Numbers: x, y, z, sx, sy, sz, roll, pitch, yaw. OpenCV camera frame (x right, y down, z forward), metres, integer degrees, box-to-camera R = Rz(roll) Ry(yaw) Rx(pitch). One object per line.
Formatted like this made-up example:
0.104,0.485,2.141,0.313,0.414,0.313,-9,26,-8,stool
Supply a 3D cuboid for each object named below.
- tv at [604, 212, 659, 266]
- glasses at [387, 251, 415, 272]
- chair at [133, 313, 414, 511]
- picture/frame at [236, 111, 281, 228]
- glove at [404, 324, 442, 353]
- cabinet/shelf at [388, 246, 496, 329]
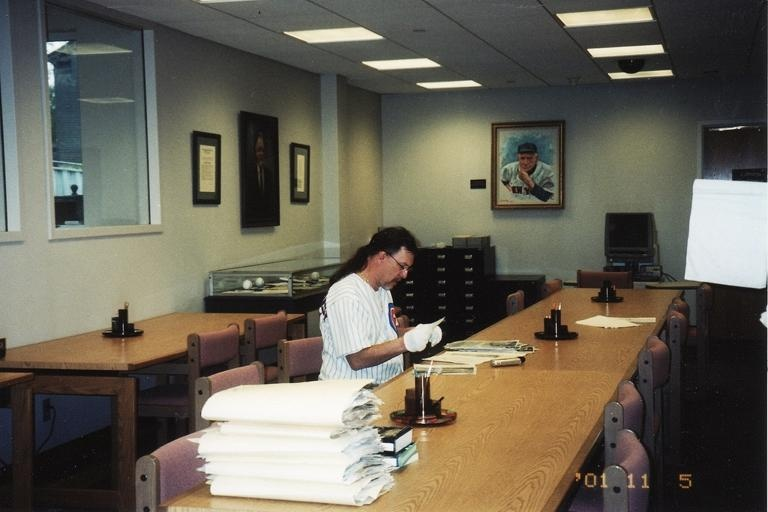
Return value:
3.210,-0.225,8.585,0.811,0.814,0.620,-1,-4,23,tv
0.090,0.014,3.535,0.035,0.118,0.115,-33,-20,16,glasses
-0.405,0.677,2.492,0.925,0.485,0.541,1,6,14,chair
-1.339,-0.912,7.087,0.115,1.241,0.720,1,6,20,picture/frame
0.193,0.406,3.251,0.134,0.132,0.177,7,-4,-3,glove
0.752,0.300,9.103,1.331,1.296,0.713,-4,30,0,cabinet/shelf
